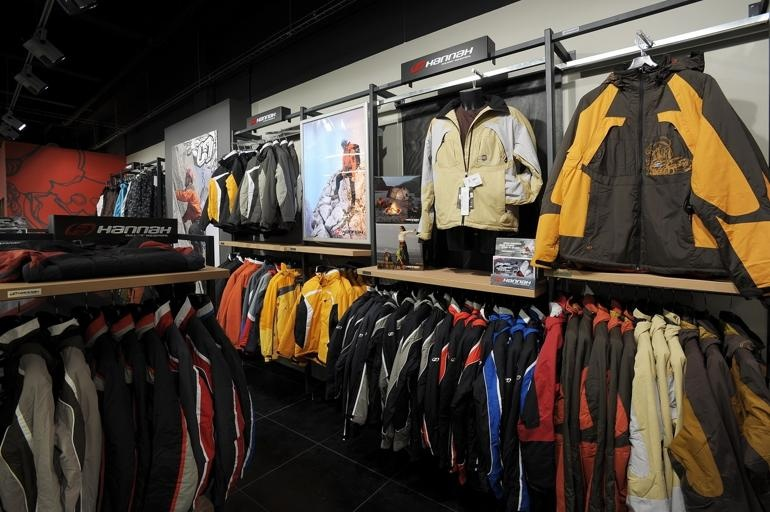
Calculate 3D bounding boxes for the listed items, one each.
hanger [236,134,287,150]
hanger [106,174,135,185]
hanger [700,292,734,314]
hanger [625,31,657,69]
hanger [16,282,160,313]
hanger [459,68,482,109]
[{"bbox_3d":[-1.351,-1.128,5.088,0.661,0.098,0.225,-2,0,41],"label":"hanger"},{"bbox_3d":[-4.172,-1.197,7.687,0.347,0.097,0.327,-3,0,-33],"label":"hanger"},{"bbox_3d":[2.115,0.290,3.099,0.170,0.164,0.041,8,5,27],"label":"hanger"},{"bbox_3d":[1.626,-1.277,3.084,0.142,0.197,0.185,2,11,16],"label":"hanger"},{"bbox_3d":[-1.749,0.250,2.950,0.422,0.101,0.410,0,-2,-44],"label":"hanger"},{"bbox_3d":[0.625,-1.184,3.581,0.152,0.264,0.296,2,3,9],"label":"hanger"}]
